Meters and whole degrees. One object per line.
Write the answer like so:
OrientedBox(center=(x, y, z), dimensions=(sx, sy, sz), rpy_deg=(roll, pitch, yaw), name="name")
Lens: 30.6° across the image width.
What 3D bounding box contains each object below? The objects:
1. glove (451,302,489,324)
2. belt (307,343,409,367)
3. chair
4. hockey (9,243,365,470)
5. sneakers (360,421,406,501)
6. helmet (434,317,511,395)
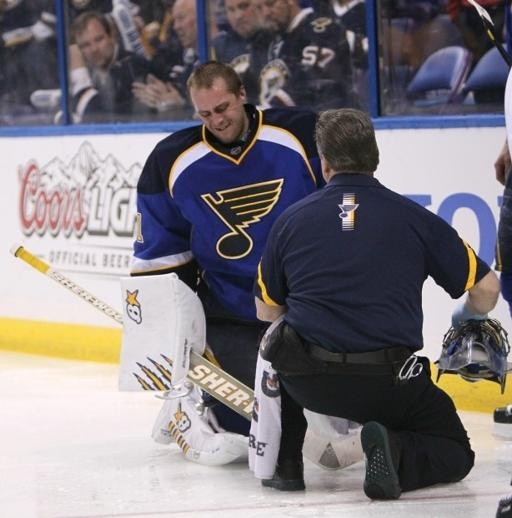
OrientedBox(center=(0.800, 0.219, 3.486), dimensions=(0.107, 0.077, 0.144), rpy_deg=(7, -13, 14), name="glove")
OrientedBox(center=(0.314, 0.291, 2.833), dimensions=(0.309, 0.053, 0.055), rpy_deg=(-1, 8, 4), name="belt")
OrientedBox(center=(0.883, -0.795, 4.278), dimensions=(0.342, 0.425, 0.348), rpy_deg=(-2, 12, 40), name="chair")
OrientedBox(center=(-0.266, 0.397, 3.594), dimensions=(0.148, 1.146, 0.190), rpy_deg=(-49, -4, -45), name="hockey")
OrientedBox(center=(0.380, 0.604, 2.779), dimensions=(0.098, 0.254, 0.107), rpy_deg=(1, 10, 19), name="sneakers")
OrientedBox(center=(0.831, 0.361, 3.559), dimensions=(0.242, 0.236, 0.319), rpy_deg=(4, 17, 16), name="helmet")
